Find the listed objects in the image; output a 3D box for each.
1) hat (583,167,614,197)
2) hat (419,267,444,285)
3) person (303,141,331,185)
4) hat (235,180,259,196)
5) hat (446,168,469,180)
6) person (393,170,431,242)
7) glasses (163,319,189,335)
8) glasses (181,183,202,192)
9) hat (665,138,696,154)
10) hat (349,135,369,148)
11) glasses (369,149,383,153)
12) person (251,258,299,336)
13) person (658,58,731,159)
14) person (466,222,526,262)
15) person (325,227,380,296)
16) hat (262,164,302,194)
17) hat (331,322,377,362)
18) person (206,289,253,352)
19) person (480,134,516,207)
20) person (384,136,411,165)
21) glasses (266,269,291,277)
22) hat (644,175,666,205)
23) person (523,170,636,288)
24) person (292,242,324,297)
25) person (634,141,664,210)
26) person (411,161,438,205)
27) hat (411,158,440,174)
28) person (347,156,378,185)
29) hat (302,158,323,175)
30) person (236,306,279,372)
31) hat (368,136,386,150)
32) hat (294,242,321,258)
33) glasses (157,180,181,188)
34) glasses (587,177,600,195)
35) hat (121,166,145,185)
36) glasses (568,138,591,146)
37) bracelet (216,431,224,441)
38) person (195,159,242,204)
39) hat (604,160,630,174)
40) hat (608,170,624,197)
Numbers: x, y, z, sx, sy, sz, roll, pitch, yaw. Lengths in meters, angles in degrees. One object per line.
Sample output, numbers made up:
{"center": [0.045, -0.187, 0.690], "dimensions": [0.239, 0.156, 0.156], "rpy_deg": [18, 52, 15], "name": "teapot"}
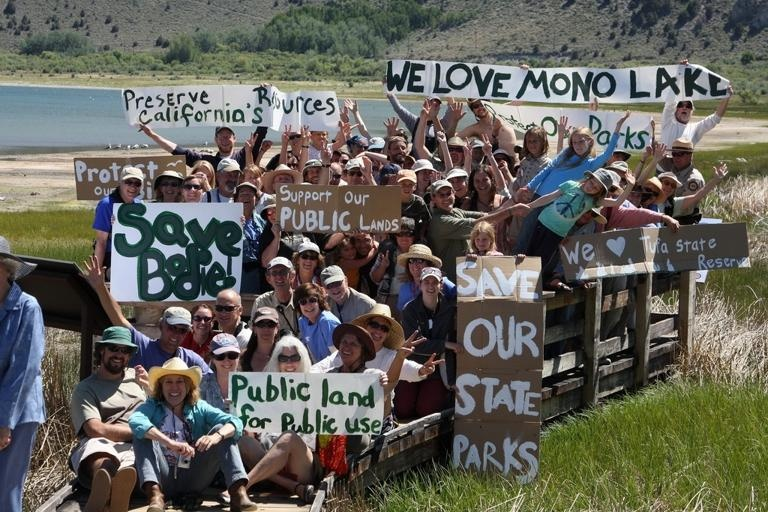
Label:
{"center": [3.460, -1.204, 17.052], "dimensions": [0.434, 0.371, 0.236], "rpy_deg": [-4, 8, -15], "name": "hat"}
{"center": [0.754, 0.275, 16.890], "dimensions": [0.358, 0.265, 0.380], "rpy_deg": [-2, 8, 2], "name": "hat"}
{"center": [-1.155, -1.742, 19.389], "dimensions": [0.504, 0.858, 0.392], "rpy_deg": [10, -5, -24], "name": "person"}
{"center": [-2.330, -1.162, 18.533], "dimensions": [0.457, 0.259, 0.362], "rpy_deg": [-7, 10, -29], "name": "hat"}
{"center": [1.265, -1.431, 18.549], "dimensions": [0.381, 0.156, 0.367], "rpy_deg": [-2, 9, 3], "name": "hat"}
{"center": [0.454, -0.523, 18.330], "dimensions": [0.677, 1.748, 0.509], "rpy_deg": [-7, -23, 9], "name": "person"}
{"center": [-3.180, 1.043, 16.400], "dimensions": [0.217, 0.128, 0.337], "rpy_deg": [18, -6, -22], "name": "glasses"}
{"center": [-3.278, -1.201, 18.289], "dimensions": [0.329, 0.127, 0.193], "rpy_deg": [-2, 8, 3], "name": "glasses"}
{"center": [5.560, -2.079, 20.167], "dimensions": [0.376, 0.162, 0.419], "rpy_deg": [4, 3, 37], "name": "hat"}
{"center": [-0.490, -2.301, 21.578], "dimensions": [0.261, 0.202, 0.336], "rpy_deg": [2, 1, 10], "name": "hat"}
{"center": [-0.136, -2.107, 21.325], "dimensions": [0.144, 0.090, 0.115], "rpy_deg": [-5, 9, -18], "name": "glasses"}
{"center": [-1.712, 0.628, 17.159], "dimensions": [0.828, 1.384, 0.735], "rpy_deg": [0, -17, 1], "name": "person"}
{"center": [5.751, -2.550, 20.411], "dimensions": [1.130, 1.178, 0.594], "rpy_deg": [-6, 9, -27], "name": "person"}
{"center": [1.612, -0.182, 17.202], "dimensions": [0.893, 0.616, 0.422], "rpy_deg": [-7, -8, 11], "name": "person"}
{"center": [-0.582, 0.220, 18.760], "dimensions": [0.590, 1.566, 0.773], "rpy_deg": [-14, 34, -27], "name": "person"}
{"center": [-1.770, -1.363, 19.170], "dimensions": [0.618, 0.520, 0.991], "rpy_deg": [-5, 9, -20], "name": "hat"}
{"center": [-0.371, 1.220, 15.924], "dimensions": [0.517, 0.594, 0.150], "rpy_deg": [3, 31, 42], "name": "hat"}
{"center": [-2.409, 0.965, 16.954], "dimensions": [0.877, 1.058, 0.479], "rpy_deg": [10, 18, 26], "name": "person"}
{"center": [2.033, -1.505, 19.160], "dimensions": [0.389, 1.529, 0.407], "rpy_deg": [-18, -3, 7], "name": "person"}
{"center": [0.263, -2.038, 20.737], "dimensions": [0.437, 0.545, 1.191], "rpy_deg": [-2, 9, 0], "name": "person"}
{"center": [-1.677, 0.233, 17.174], "dimensions": [0.327, 0.113, 0.093], "rpy_deg": [-3, 8, -7], "name": "glasses"}
{"center": [4.824, -1.160, 19.039], "dimensions": [0.153, 0.466, 0.371], "rpy_deg": [14, 33, 43], "name": "hat"}
{"center": [3.180, -0.443, 17.431], "dimensions": [1.187, 2.188, 0.637], "rpy_deg": [12, 37, -20], "name": "person"}
{"center": [-1.243, 0.188, 17.628], "dimensions": [0.470, 0.903, 0.500], "rpy_deg": [-3, -7, 37], "name": "person"}
{"center": [4.767, -1.318, 19.043], "dimensions": [0.526, 0.339, 0.801], "rpy_deg": [34, 18, 1], "name": "person"}
{"center": [0.714, -1.263, 18.803], "dimensions": [0.477, 0.449, 0.803], "rpy_deg": [-4, 47, -7], "name": "person"}
{"center": [0.745, -1.660, 19.644], "dimensions": [0.387, 0.240, 0.584], "rpy_deg": [3, -1, -6], "name": "hat"}
{"center": [-0.431, -1.504, 19.396], "dimensions": [0.401, 0.407, 0.713], "rpy_deg": [10, 15, -8], "name": "person"}
{"center": [-1.275, -1.617, 19.335], "dimensions": [0.401, 0.232, 0.279], "rpy_deg": [-1, 8, 10], "name": "hat"}
{"center": [-1.787, 1.292, 16.348], "dimensions": [0.665, 1.154, 0.659], "rpy_deg": [0, -7, -23], "name": "person"}
{"center": [-0.126, -2.267, 21.545], "dimensions": [0.222, 0.208, 0.349], "rpy_deg": [4, 7, 2], "name": "hat"}
{"center": [-1.244, -0.143, 17.590], "dimensions": [0.407, 0.227, 0.349], "rpy_deg": [6, 12, 44], "name": "hat"}
{"center": [-3.683, -1.273, 18.604], "dimensions": [0.360, 0.140, 0.198], "rpy_deg": [-4, 9, -13], "name": "glasses"}
{"center": [3.295, -1.097, 17.056], "dimensions": [0.237, 0.178, 0.250], "rpy_deg": [-43, -12, -17], "name": "glasses"}
{"center": [-4.275, -1.402, 18.265], "dimensions": [0.350, 0.301, 0.573], "rpy_deg": [11, -2, -17], "name": "hat"}
{"center": [3.318, -1.941, 18.069], "dimensions": [0.312, 0.117, 0.116], "rpy_deg": [-2, 8, 4], "name": "glasses"}
{"center": [-2.310, 2.495, 15.197], "dimensions": [0.032, 0.119, 0.105], "rpy_deg": [1, 14, -44], "name": "bracelet"}
{"center": [-2.840, -1.315, 19.041], "dimensions": [0.563, 0.923, 0.632], "rpy_deg": [2, 6, -18], "name": "person"}
{"center": [3.942, -1.582, 18.028], "dimensions": [0.296, 0.132, 0.330], "rpy_deg": [28, -9, -39], "name": "hat"}
{"center": [3.755, -1.208, 17.542], "dimensions": [0.392, 0.130, 0.409], "rpy_deg": [23, -4, 34], "name": "hat"}
